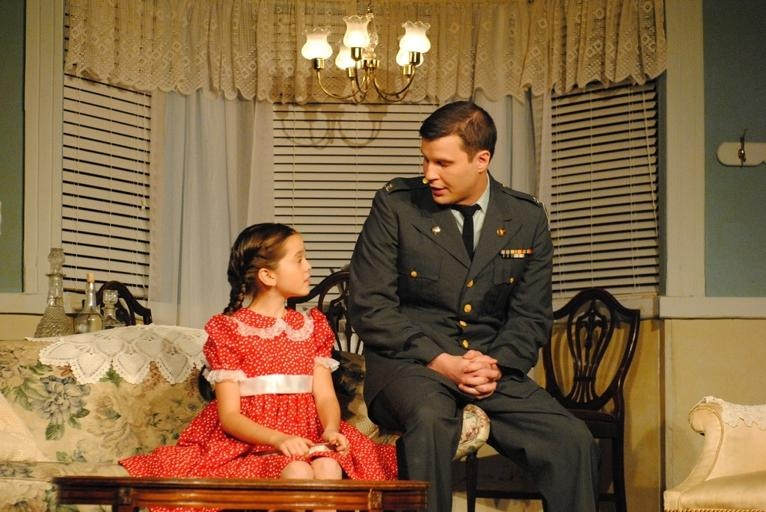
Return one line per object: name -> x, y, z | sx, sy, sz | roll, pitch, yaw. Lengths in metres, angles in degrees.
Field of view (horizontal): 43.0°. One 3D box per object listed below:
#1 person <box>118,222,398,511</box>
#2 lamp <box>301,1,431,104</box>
person -> -0.542, 0.491, 4.409 | 1.165, 1.078, 1.068 | 7, -16, -29
lamp -> -0.084, -1.077, 5.596 | 0.671, 0.601, 0.562 | 1, -3, -1
